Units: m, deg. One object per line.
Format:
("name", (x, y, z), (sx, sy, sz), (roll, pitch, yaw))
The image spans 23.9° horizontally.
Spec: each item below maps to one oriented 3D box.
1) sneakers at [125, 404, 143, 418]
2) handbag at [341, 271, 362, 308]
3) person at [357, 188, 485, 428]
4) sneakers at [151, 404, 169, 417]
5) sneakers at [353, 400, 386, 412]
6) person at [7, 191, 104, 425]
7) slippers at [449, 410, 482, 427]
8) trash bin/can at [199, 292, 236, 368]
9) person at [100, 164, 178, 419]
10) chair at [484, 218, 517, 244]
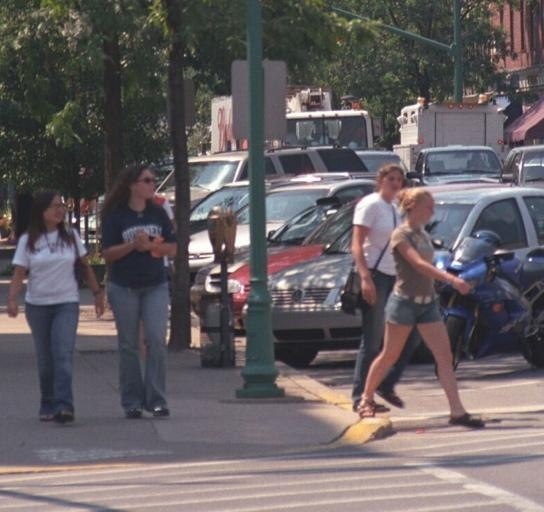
("sneakers", (-1.081, 1.212, 10.011), (0.128, 0.092, 0.170), (-3, 4, -7))
("handbag", (0.650, 0.289, 10.072), (0.183, 0.426, 0.353), (0, -1, 5))
("person", (1.089, 0.388, 9.738), (0.699, 1.784, 0.832), (-3, 4, -24))
("sneakers", (-0.853, 1.199, 9.977), (0.156, 0.107, 0.098), (-5, 5, -29))
("sneakers", (0.776, 1.182, 10.077), (0.273, 0.086, 0.109), (0, 4, 8))
("person", (-1.694, 0.385, 9.891), (0.652, 1.743, 0.697), (-1, 4, 13))
("slippers", (1.457, 1.206, 9.596), (0.246, 0.125, 0.099), (2, 4, 3))
("trash bin/can", (-0.577, 0.791, 12.951), (0.362, 0.712, 0.380), (-4, -13, 16))
("person", (-1.024, 0.284, 10.015), (0.586, 1.968, 0.502), (-2, 4, -4))
("chair", (2.299, -0.244, 12.727), (0.328, 0.176, 0.204), (3, -1, -43))
